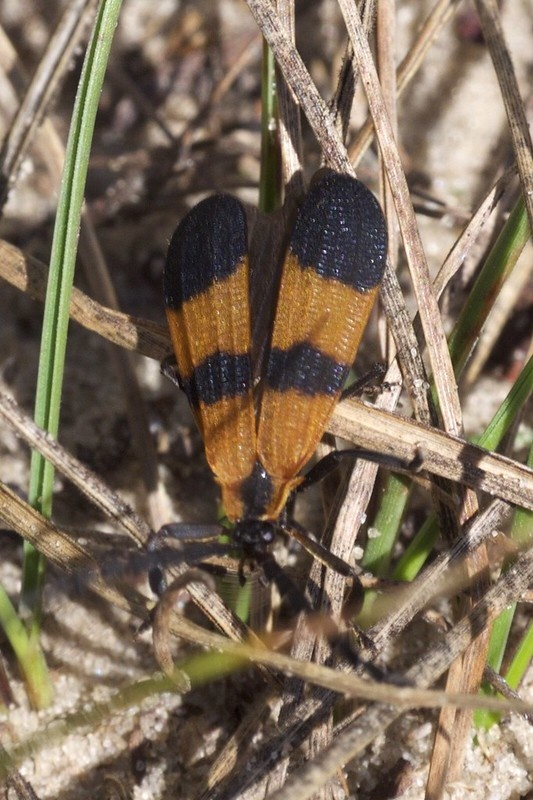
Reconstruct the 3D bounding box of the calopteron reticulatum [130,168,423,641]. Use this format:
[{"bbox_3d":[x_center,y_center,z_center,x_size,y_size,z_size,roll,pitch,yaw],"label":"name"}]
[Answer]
[{"bbox_3d":[0.033,-0.017,2.059,0.608,0.848,0.900,5,48,2],"label":"calopteron reticulatum"}]
